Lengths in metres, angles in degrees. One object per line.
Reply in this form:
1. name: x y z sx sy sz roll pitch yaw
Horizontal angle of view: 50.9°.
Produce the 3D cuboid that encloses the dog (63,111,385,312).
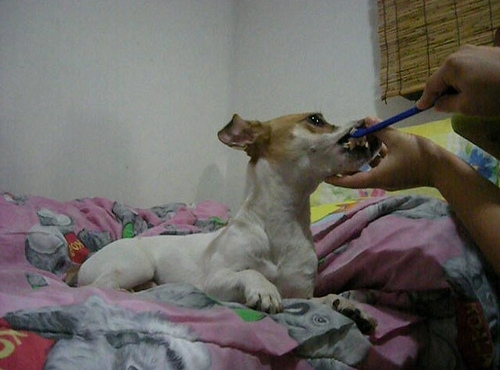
1. dog: -0.219 0.137 2.448 0.749 0.802 1.214 13 -18 -38
